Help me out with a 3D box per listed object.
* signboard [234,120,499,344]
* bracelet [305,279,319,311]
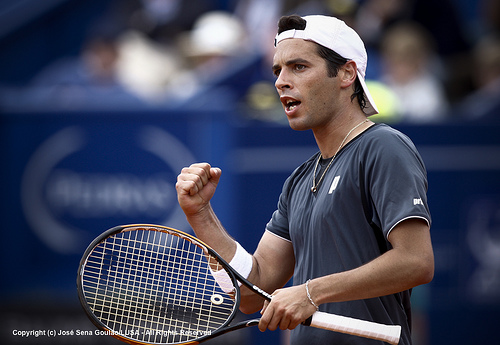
[{"bbox_3d":[1.101,0.538,6.327,1.991,2.237,0.096,0,-3,2],"label":"signboard"},{"bbox_3d":[0.421,0.877,5.501,0.041,0.137,0.175,-13,56,4],"label":"bracelet"}]
